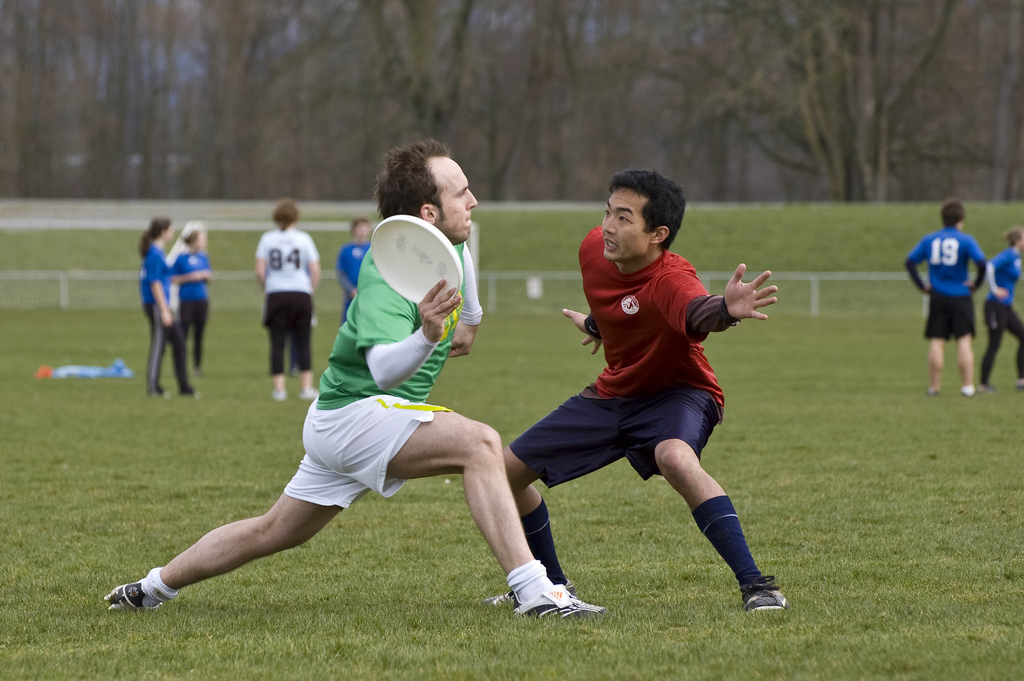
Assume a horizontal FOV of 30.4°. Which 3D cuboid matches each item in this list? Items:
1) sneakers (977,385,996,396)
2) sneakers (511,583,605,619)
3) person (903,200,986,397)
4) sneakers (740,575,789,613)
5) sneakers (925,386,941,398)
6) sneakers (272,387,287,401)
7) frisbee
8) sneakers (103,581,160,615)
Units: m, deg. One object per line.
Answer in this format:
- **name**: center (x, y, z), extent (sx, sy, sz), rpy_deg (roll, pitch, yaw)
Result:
- **sneakers**: center (4.531, 0.486, 18.153), extent (0.072, 0.086, 0.200), rpy_deg (5, 8, 27)
- **sneakers**: center (0.297, 1.724, 12.578), extent (0.582, 0.230, 0.221), rpy_deg (-1, -1, -4)
- **person**: center (4.151, -0.411, 18.226), extent (0.751, 2.016, 1.198), rpy_deg (2, 14, 11)
- **sneakers**: center (1.697, 1.695, 12.714), extent (0.325, 0.200, 0.244), rpy_deg (-1, 13, -2)
- **sneakers**: center (4.028, 0.503, 18.155), extent (0.089, 0.104, 0.243), rpy_deg (0, -3, -2)
- **sneakers**: center (-2.326, 0.534, 18.751), extent (0.113, 0.083, 0.110), rpy_deg (-1, -3, 17)
- **frisbee**: center (-0.578, -0.560, 12.492), extent (0.119, 0.575, 0.574), rpy_deg (-38, -10, -40)
- **sneakers**: center (-2.611, 1.768, 12.902), extent (0.298, 0.131, 0.184), rpy_deg (-9, 13, -8)
